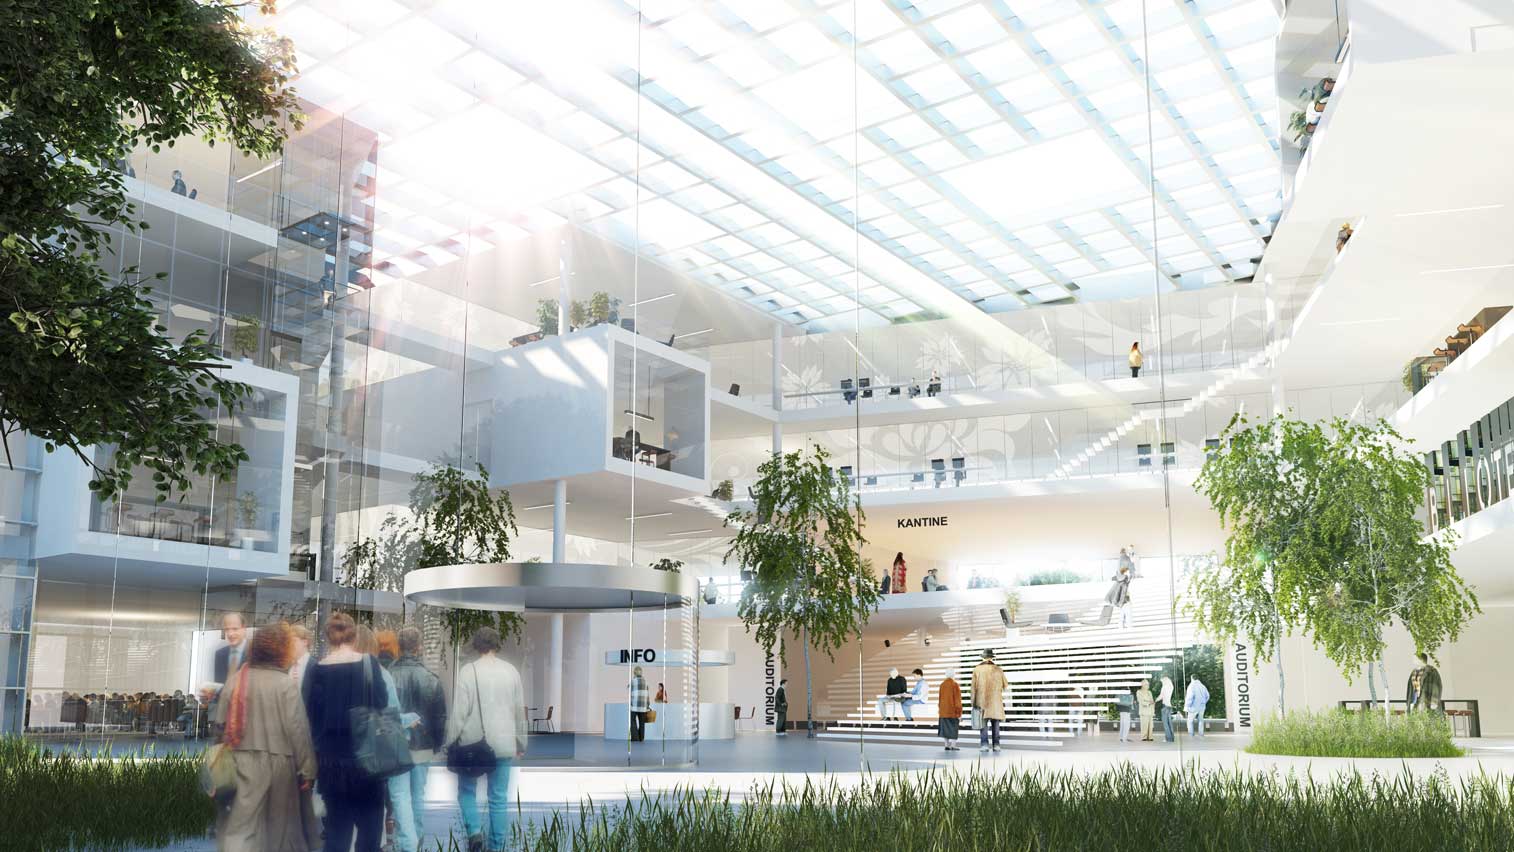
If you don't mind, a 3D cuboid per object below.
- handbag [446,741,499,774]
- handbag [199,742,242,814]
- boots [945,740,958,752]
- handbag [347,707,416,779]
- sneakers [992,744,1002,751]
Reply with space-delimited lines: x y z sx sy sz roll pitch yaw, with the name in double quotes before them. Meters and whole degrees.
"handbag" -2.817 3.316 11.676 0.337 0.305 0.158 -1 -15 0
"handbag" -4.987 3.301 10.911 0.325 0.801 0.803 5 -19 -36
"boots" 3.466 5.637 20.474 0.268 0.245 0.123 2 -7 -18
"handbag" -3.639 3.083 11.305 0.753 0.755 0.326 5 -19 -38
"sneakers" 4.162 5.590 20.188 0.079 0.081 0.211 -2 -22 2
